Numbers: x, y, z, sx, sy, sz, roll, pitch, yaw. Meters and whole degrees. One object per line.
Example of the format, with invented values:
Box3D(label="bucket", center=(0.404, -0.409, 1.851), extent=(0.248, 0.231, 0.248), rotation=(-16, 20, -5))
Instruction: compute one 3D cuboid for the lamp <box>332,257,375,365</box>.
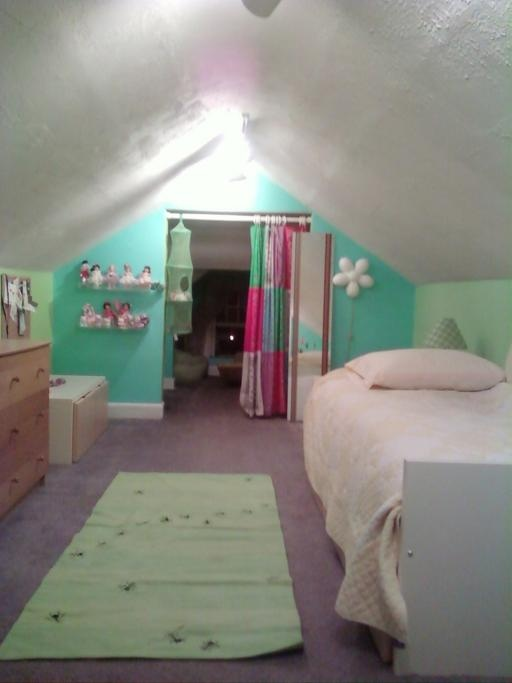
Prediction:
Box3D(label="lamp", center=(0.787, -0.273, 4.171), extent=(0.343, 0.821, 0.170), rotation=(2, 3, 9))

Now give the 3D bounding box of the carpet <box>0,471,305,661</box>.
Box3D(label="carpet", center=(-0.293, 0.757, 1.862), extent=(0.814, 0.013, 1.204), rotation=(2, 3, -2))

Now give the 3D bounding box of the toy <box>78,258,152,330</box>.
Box3D(label="toy", center=(-1.079, -0.352, 3.996), extent=(0.601, 0.524, 0.216), rotation=(1, 3, -18))

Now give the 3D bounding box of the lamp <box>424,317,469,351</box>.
Box3D(label="lamp", center=(1.105, -0.051, 2.991), extent=(0.304, 0.182, 0.209), rotation=(1, 3, -19))
